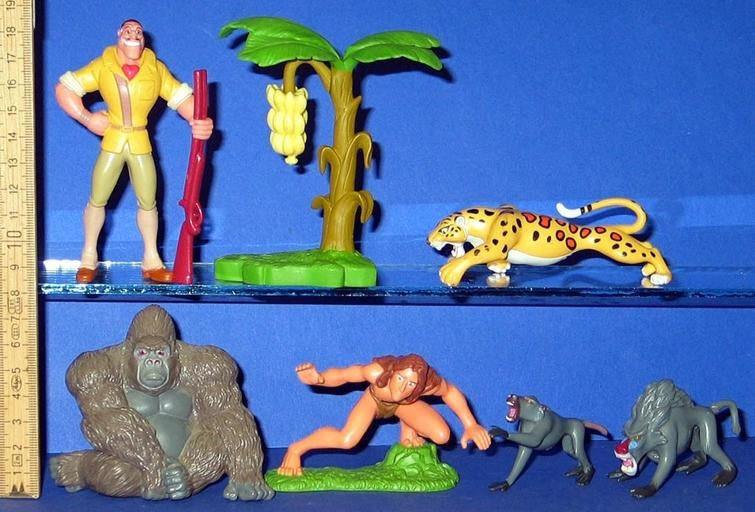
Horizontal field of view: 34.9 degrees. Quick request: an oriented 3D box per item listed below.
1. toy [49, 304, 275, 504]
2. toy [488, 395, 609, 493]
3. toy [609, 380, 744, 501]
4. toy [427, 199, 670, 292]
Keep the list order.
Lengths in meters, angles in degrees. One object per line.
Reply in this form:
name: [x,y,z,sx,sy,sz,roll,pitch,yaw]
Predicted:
toy: [-0.597,0.414,3.212,0.563,0.518,0.308,-2,14,-10]
toy: [0.457,0.507,3.330,0.394,0.255,0.238,1,-3,-16]
toy: [0.811,0.493,3.301,0.349,0.312,0.189,1,-4,-23]
toy: [0.450,-0.044,3.250,0.543,0.216,0.286,-2,-3,-2]
